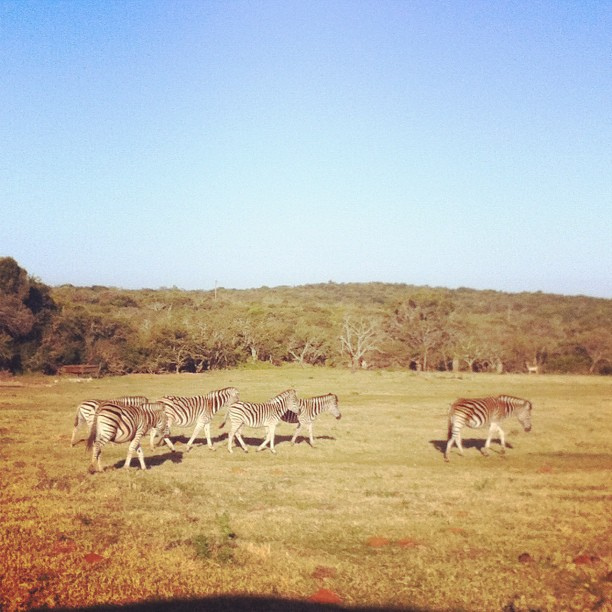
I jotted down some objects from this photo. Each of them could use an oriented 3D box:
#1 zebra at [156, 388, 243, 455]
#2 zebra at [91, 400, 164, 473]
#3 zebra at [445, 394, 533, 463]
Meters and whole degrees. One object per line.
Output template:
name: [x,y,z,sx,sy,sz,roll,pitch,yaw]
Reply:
zebra: [-3.469,3.678,24.740,2.442,1.980,4.166,1,3,-6]
zebra: [-5.062,3.626,21.440,0.730,2.003,2.576,3,1,43]
zebra: [6.091,3.941,25.151,2.121,1.942,4.826,3,3,30]
